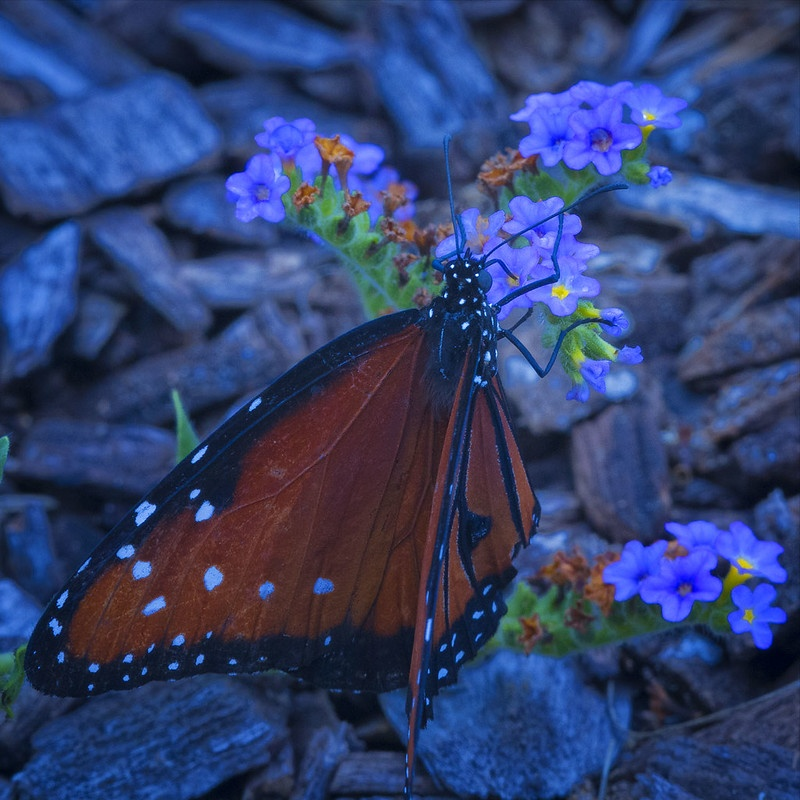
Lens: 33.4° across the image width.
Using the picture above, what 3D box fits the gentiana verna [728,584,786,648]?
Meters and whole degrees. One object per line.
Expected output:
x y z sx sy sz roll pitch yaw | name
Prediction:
0.813 0.489 3.039 0.125 0.134 0.097 -11 16 10 | gentiana verna
